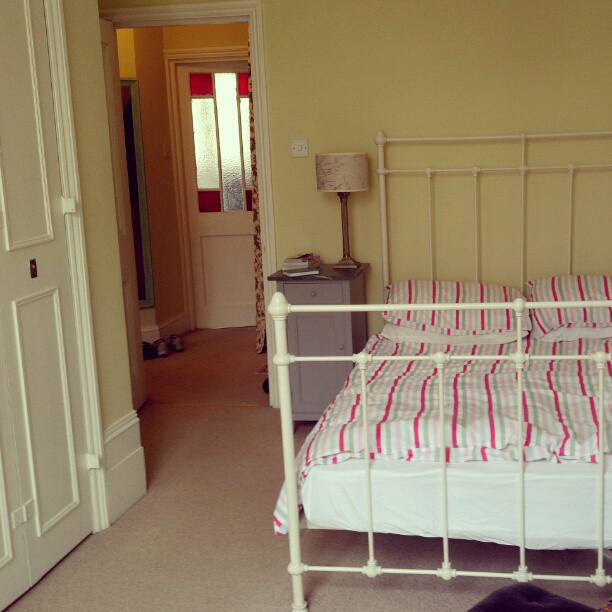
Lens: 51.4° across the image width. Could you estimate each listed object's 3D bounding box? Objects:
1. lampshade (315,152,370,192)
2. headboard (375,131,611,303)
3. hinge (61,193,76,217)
[{"bbox_3d":[0.188,-0.668,3.170,0.286,0.173,0.274,-3,12,0],"label":"lampshade"},{"bbox_3d":[0.962,-0.467,3.135,1.007,0.934,0.065,0,20,5],"label":"headboard"},{"bbox_3d":[-0.814,-0.345,2.176,0.052,0.068,0.050,-1,9,-5],"label":"hinge"}]
